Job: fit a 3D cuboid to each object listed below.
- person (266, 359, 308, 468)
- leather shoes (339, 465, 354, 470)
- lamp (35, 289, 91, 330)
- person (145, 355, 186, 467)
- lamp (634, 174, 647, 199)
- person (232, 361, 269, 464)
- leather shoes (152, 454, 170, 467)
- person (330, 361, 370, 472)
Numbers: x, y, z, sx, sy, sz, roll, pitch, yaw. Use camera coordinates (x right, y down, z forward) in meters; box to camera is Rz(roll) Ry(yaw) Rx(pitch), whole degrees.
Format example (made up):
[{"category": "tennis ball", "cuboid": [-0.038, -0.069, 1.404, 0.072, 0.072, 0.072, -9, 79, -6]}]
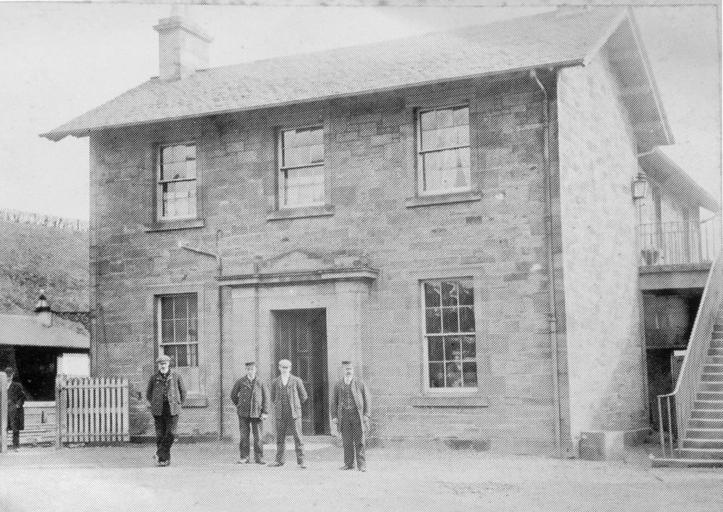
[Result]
[{"category": "person", "cuboid": [-1.326, 2.956, 24.584, 0.599, 2.026, 0.891, 5, -9, -43]}, {"category": "leather shoes", "cuboid": [-0.243, 3.884, 24.054, 0.255, 0.093, 0.088, 5, -9, -1]}, {"category": "lamp", "cuboid": [-7.420, 1.443, 32.996, 1.698, 0.791, 0.492, 3, 5, 24]}, {"category": "person", "cuboid": [-3.661, 2.919, 24.646, 0.702, 2.053, 0.445, 0, -7, -5]}, {"category": "lamp", "cuboid": [6.417, -1.573, 30.050, 0.349, 0.550, 0.305, 0, -7, -4]}, {"category": "person", "cuboid": [-2.117, 2.991, 25.006, 0.682, 1.917, 0.553, -1, -7, 3]}, {"category": "leather shoes", "cuboid": [-3.716, 3.831, 24.592, 0.315, 0.233, 0.366, 0, -7, -6]}, {"category": "person", "cuboid": [-0.165, 2.946, 24.113, 0.698, 2.003, 0.362, -3, -7, 16]}]
